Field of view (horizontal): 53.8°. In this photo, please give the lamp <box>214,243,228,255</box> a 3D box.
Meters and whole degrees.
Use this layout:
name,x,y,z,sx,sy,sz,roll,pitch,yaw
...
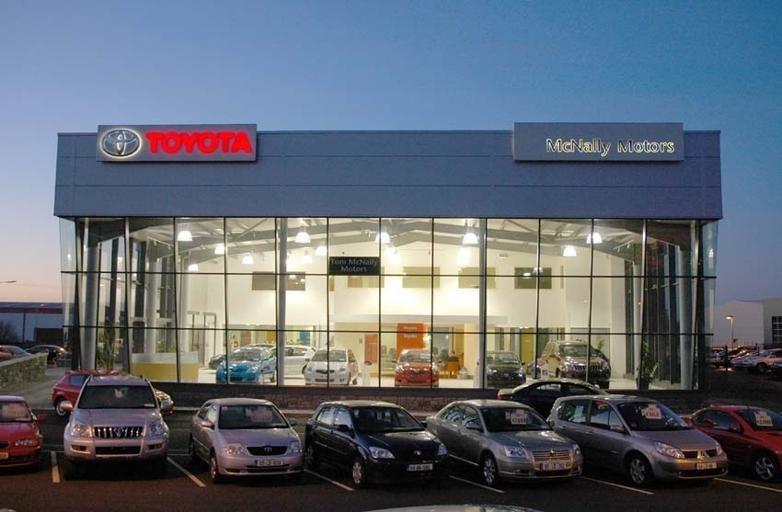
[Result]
name,x,y,z,sx,sy,sz,roll,pitch,yaw
lamp,-7.590,-0.321,34.110,0.487,0.529,0.181,2,11,14

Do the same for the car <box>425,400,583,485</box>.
name,x,y,z,sx,sy,sz,roll,pitch,yaw
car,3.193,5.306,22.092,2.023,1.872,4.056,-10,14,-42

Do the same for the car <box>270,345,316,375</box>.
name,x,y,z,sx,sy,sz,roll,pitch,yaw
car,-4.298,4.437,33.896,1.917,0.847,1.021,4,-4,0

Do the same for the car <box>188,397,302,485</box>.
name,x,y,z,sx,sy,sz,roll,pitch,yaw
car,-4.181,5.252,21.803,3.402,1.977,2.075,8,13,37

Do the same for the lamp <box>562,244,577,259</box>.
name,x,y,z,sx,sy,sz,roll,pitch,yaw
lamp,7.751,-0.194,33.620,0.528,0.467,0.517,0,0,-5

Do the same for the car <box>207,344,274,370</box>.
name,x,y,z,sx,sy,sz,roll,pitch,yaw
car,-6.675,4.359,34.080,2.635,0.849,1.189,1,-2,-1

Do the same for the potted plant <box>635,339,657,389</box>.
name,x,y,z,sx,sy,sz,roll,pitch,yaw
potted plant,11.059,4.614,33.462,0.963,2.232,0.486,0,10,-1

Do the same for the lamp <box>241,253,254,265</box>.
name,x,y,z,sx,sy,sz,roll,pitch,yaw
lamp,-6.360,0.114,34.030,0.489,0.434,0.479,1,-2,-10

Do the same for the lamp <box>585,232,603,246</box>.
name,x,y,z,sx,sy,sz,roll,pitch,yaw
lamp,8.808,-0.755,33.775,0.593,0.437,0.581,1,-1,-1

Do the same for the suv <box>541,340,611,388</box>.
name,x,y,z,sx,sy,sz,roll,pitch,yaw
suv,7.627,4.650,34.222,1.779,1.453,2.883,2,-7,-18

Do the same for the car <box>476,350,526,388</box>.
name,x,y,z,sx,sy,sz,roll,pitch,yaw
car,4.882,4.872,33.203,1.677,1.510,0.653,1,10,6

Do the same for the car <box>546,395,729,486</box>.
name,x,y,z,sx,sy,sz,roll,pitch,yaw
car,6.868,5.312,22.543,2.398,1.794,4.380,4,-8,-33

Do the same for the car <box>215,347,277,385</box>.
name,x,y,z,sx,sy,sz,roll,pitch,yaw
car,-6.396,4.725,33.606,2.461,1.070,1.464,2,-1,6

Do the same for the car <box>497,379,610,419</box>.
name,x,y,z,sx,sy,sz,roll,pitch,yaw
car,5.797,5.288,27.990,3.427,1.096,1.542,-2,0,-8

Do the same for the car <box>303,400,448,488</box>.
name,x,y,z,sx,sy,sz,roll,pitch,yaw
car,-0.496,5.359,21.812,4.136,2.052,1.981,8,13,40

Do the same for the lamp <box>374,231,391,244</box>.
name,x,y,z,sx,sy,sz,roll,pitch,yaw
lamp,-0.387,-0.809,33.502,0.558,0.358,0.546,1,0,-2

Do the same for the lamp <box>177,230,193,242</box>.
name,x,y,z,sx,sy,sz,roll,pitch,yaw
lamp,-9.159,-0.882,34.136,0.525,0.480,0.513,1,-1,-4
